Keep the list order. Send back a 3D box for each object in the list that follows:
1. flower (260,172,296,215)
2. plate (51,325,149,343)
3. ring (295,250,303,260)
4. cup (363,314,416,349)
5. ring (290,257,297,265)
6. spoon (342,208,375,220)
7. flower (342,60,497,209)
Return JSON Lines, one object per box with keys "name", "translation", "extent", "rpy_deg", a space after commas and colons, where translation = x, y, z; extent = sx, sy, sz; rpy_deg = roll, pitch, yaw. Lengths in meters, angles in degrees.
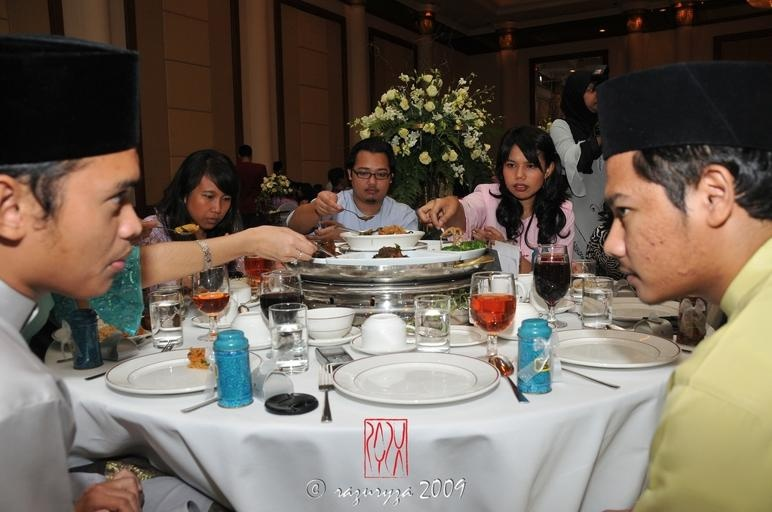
{"name": "flower", "translation": [-1.404, -0.843, 6.918], "extent": [0.547, 0.545, 0.554], "rpy_deg": [7, 14, 34]}
{"name": "plate", "translation": [-0.914, 0.259, 1.710], "extent": [0.146, 0.020, 0.151], "rpy_deg": [6, 4, 27]}
{"name": "ring", "translation": [-0.334, -0.005, 1.987], "extent": [0.009, 0.029, 0.029], "rpy_deg": [-2, -10, 10]}
{"name": "cup", "translation": [0.005, 0.240, 1.639], "extent": [0.113, 0.078, 0.115], "rpy_deg": [-1, -1, 0]}
{"name": "ring", "translation": [-0.357, 0.016, 1.994], "extent": [0.027, 0.008, 0.026], "rpy_deg": [-2, 26, 1]}
{"name": "spoon", "translation": [-0.206, -0.323, 3.970], "extent": [0.266, 0.056, 0.055], "rpy_deg": [14, -12, -11]}
{"name": "flower", "translation": [0.266, -0.733, 3.270], "extent": [0.805, 0.826, 0.388], "rpy_deg": [-1, 12, 11]}
